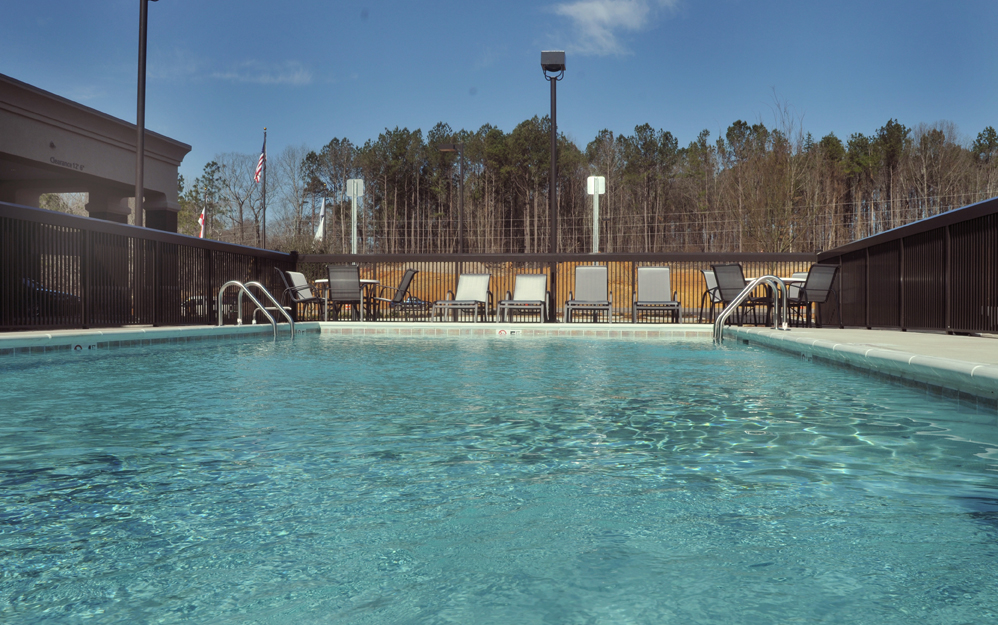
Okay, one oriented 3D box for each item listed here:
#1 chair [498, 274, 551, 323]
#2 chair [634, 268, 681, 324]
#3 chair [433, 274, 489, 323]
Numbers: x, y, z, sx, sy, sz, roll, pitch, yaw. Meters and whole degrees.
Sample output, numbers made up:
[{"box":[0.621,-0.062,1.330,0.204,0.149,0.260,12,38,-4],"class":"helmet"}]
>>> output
[{"box":[0.570,-0.392,16.545,0.779,0.955,1.245,0,0,13],"class":"chair"},{"box":[3.525,-0.342,16.749,0.955,1.275,1.891,2,8,15],"class":"chair"},{"box":[-0.849,-0.381,16.895,0.869,1.138,1.294,0,-1,20],"class":"chair"}]
